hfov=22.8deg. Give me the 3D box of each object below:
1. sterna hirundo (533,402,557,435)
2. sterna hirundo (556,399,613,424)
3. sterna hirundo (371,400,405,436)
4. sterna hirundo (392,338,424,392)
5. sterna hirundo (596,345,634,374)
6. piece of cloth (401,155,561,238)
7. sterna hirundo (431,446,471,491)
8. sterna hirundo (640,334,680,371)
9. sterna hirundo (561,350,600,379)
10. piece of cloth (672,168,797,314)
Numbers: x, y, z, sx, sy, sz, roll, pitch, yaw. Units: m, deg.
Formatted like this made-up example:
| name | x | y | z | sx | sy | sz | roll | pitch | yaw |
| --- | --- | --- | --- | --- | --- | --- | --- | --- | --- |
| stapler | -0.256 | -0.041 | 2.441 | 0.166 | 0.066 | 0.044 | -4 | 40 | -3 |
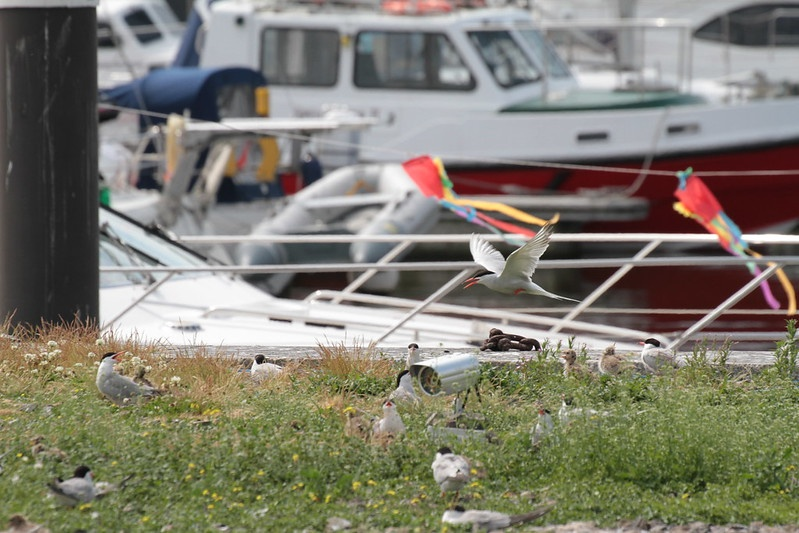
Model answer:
| name | x | y | z | sx | sy | sz | roll | pitch | yaw |
| --- | --- | --- | --- | --- | --- | --- | --- | --- | --- |
| sterna hirundo | 1.586 | 1.720 | 22.047 | 0.189 | 0.304 | 0.221 | -6 | 12 | 3 |
| sterna hirundo | 1.990 | 1.663 | 22.227 | 0.465 | 0.256 | 0.287 | 13 | 20 | 32 |
| sterna hirundo | -0.119 | 1.689 | 22.031 | 0.355 | 0.383 | 0.411 | 2 | 11 | 5 |
| sterna hirundo | 0.078 | 1.147 | 22.785 | 0.260 | 0.495 | 0.845 | 1 | 11 | 0 |
| sterna hirundo | 2.483 | 1.123 | 23.143 | 0.264 | 0.274 | 0.420 | -4 | 7 | -44 |
| piece of cloth | 0.960 | -0.830 | 26.282 | 1.737 | 0.418 | 1.411 | 19 | 12 | 18 |
| sterna hirundo | 0.520 | 2.297 | 21.420 | 0.410 | 0.496 | 0.750 | -1 | 0 | -14 |
| sterna hirundo | 3.019 | 1.061 | 23.282 | 0.495 | 0.408 | 0.281 | -2 | -2 | -1 |
| sterna hirundo | 2.045 | 1.176 | 23.118 | 0.399 | 0.333 | 0.266 | -6 | -7 | 16 |
| piece of cloth | 4.758 | -0.399 | 28.409 | 0.761 | 2.508 | 0.718 | -44 | -11 | 14 |
